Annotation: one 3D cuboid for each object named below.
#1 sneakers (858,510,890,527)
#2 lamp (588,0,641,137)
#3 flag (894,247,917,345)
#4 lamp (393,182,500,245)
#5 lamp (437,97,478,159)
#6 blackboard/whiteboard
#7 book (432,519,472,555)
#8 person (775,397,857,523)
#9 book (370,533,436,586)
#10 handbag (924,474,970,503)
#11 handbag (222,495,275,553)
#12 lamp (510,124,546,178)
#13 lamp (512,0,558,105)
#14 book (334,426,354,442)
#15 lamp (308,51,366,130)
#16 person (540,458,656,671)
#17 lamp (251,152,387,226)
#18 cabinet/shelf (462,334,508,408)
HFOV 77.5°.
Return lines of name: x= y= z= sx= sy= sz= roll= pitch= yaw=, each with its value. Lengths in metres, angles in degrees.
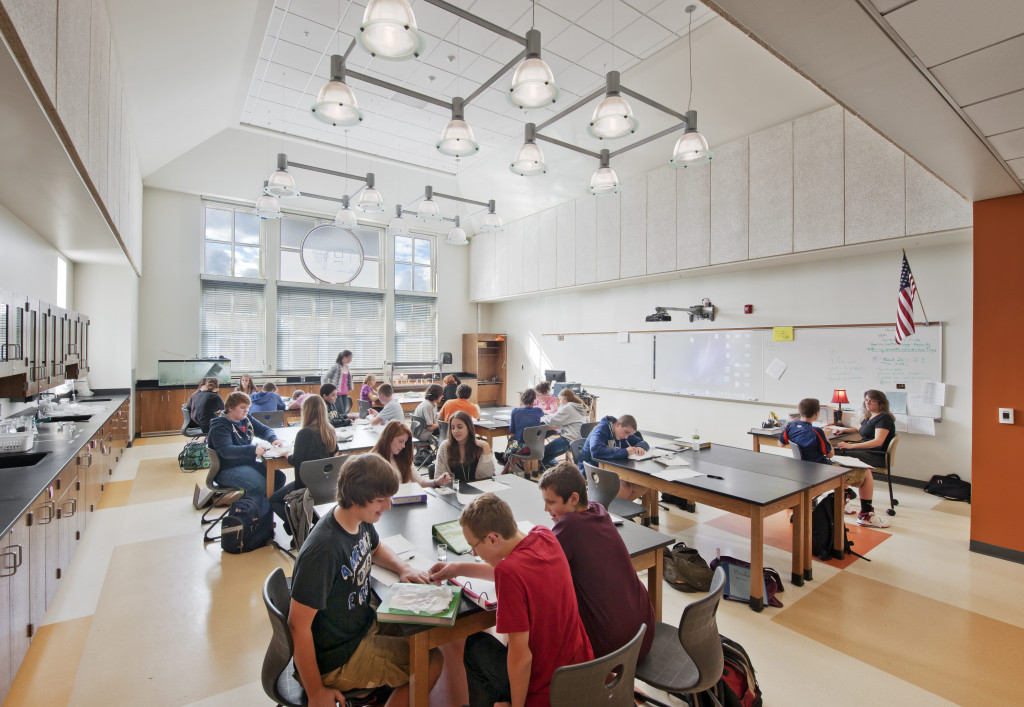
sneakers: x=3.923 y=1.799 z=6.960 sx=0.329 sy=0.148 sz=0.131 roll=1 pitch=-1 yaw=-3
lamp: x=0.929 y=-2.258 z=5.835 sx=0.389 sy=1.067 sz=0.631 roll=1 pitch=0 yaw=8
flag: x=4.719 y=-0.701 z=7.623 sx=0.206 sy=1.056 sz=0.691 roll=1 pitch=0 yaw=32
lamp: x=-1.190 y=-2.606 z=11.760 sx=1.841 sy=0.736 sz=1.821 roll=1 pitch=1 yaw=-30
lamp: x=-0.484 y=-2.104 z=5.885 sx=0.370 sy=0.427 sz=0.353 roll=4 pitch=2 yaw=25
blackboard/whiteboard: x=3.052 y=0.159 z=9.899 sx=0.086 sy=1.101 sz=6.435 roll=-1 pitch=1 yaw=-38
book: x=-0.437 y=1.373 z=4.807 sx=0.250 sy=0.080 sz=0.268 roll=2 pitch=5 yaw=39
person: x=3.171 y=0.801 z=6.786 sx=0.652 sy=1.030 sz=0.550 roll=-6 pitch=9 yaw=-37
book: x=-0.793 y=1.396 z=4.530 sx=0.190 sy=0.039 sz=0.498 roll=-4 pitch=10 yaw=-29
handbag: x=5.186 y=1.579 z=7.581 sx=0.247 sy=0.149 sz=0.347 roll=2 pitch=8 yaw=-21
handbag: x=-2.675 y=1.696 z=6.454 sx=0.369 sy=0.490 sz=0.486 roll=2 pitch=0 yaw=13
lamp: x=0.176 y=-2.013 z=6.300 sx=0.393 sy=0.455 sz=0.383 roll=1 pitch=-2 yaw=-33
lamp: x=0.196 y=-2.404 z=5.401 sx=0.393 sy=0.833 sz=0.378 roll=1 pitch=0 yaw=1
book: x=-1.964 y=0.956 z=7.537 sx=0.210 sy=0.053 sz=0.219 roll=-1 pitch=3 yaw=-31
lamp: x=-1.493 y=-2.349 z=5.646 sx=0.354 sy=0.634 sz=0.451 roll=1 pitch=0 yaw=16
person: x=0.498 y=1.453 z=4.625 sx=0.780 sy=1.255 sz=0.696 roll=-12 pitch=2 yaw=43
lamp: x=-3.124 y=-2.682 z=10.285 sx=1.676 sy=0.653 sz=1.633 roll=11 pitch=-14 yaw=-42
cabinet/shelf: x=-0.559 y=0.351 z=14.142 sx=0.742 sy=1.563 sz=0.487 roll=-2 pitch=5 yaw=-29
